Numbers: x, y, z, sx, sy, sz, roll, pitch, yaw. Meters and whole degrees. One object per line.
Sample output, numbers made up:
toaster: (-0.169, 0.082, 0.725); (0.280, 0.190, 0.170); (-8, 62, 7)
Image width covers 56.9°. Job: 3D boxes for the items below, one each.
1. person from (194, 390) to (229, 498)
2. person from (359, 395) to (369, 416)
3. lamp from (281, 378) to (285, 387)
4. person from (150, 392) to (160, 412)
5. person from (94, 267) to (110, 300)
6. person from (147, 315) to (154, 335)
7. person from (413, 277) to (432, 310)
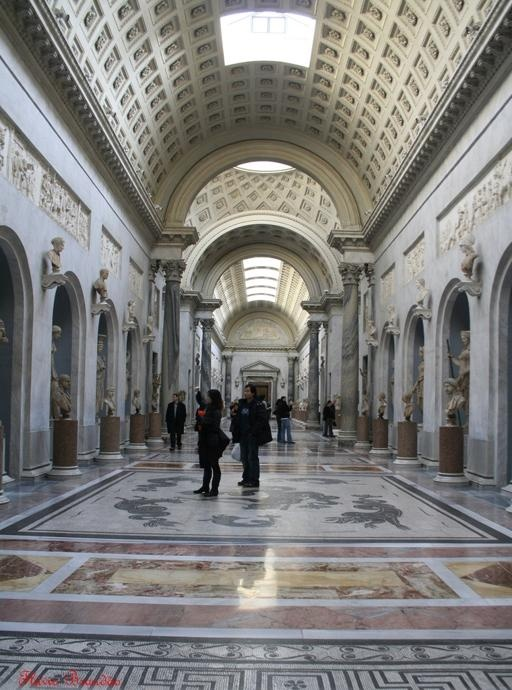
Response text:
person: (-0.713, 1.611, 7.753); (0.448, 1.732, 0.777); (1, -8, -9)
person: (4.483, 2.441, 19.343); (0.308, 0.912, 1.830); (-2, -9, 13)
lamp: (3.318, 4.550, 57.408); (0.571, 1.102, 0.564); (0, -8, 3)
person: (-4.221, 2.393, 19.788); (0.303, 0.718, 0.716); (1, -8, -5)
person: (-4.359, -1.675, 13.251); (0.373, 0.860, 0.635); (3, -9, -20)
person: (-4.251, -0.769, 18.973); (0.224, 0.793, 1.082); (2, -9, -16)
person: (4.648, -1.311, 13.184); (0.393, 1.170, 0.545); (-2, -8, 13)
